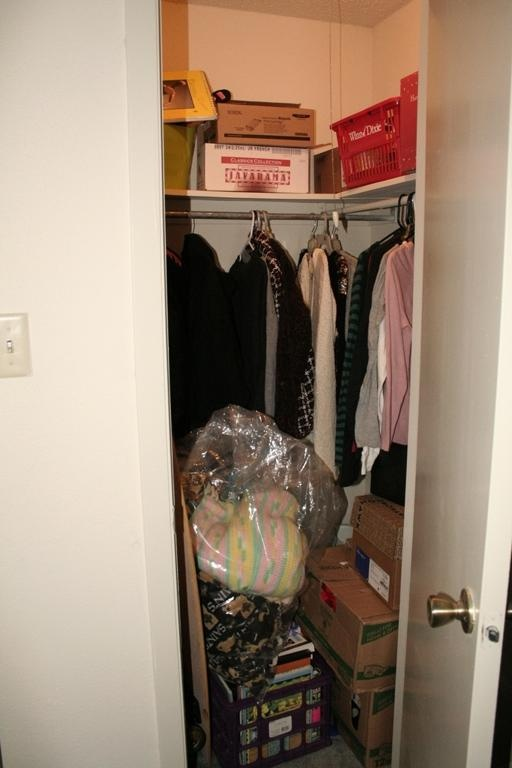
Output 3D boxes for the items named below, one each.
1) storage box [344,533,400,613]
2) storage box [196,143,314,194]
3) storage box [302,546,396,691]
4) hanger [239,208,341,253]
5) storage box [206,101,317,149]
[{"bbox_3d":[0.352,0.567,1.751,0.095,0.108,0.196,1,24,-22],"label":"storage box"},{"bbox_3d":[-0.006,-0.746,2.017,0.293,0.211,0.161,-3,17,-11],"label":"storage box"},{"bbox_3d":[0.294,0.748,1.826,0.189,0.220,0.374,7,6,-26],"label":"storage box"},{"bbox_3d":[0.146,-0.592,2.238,0.379,0.145,0.548,1,12,13],"label":"hanger"},{"bbox_3d":[0.034,-0.896,2.010,0.357,0.146,0.062,-4,9,-15],"label":"storage box"}]
